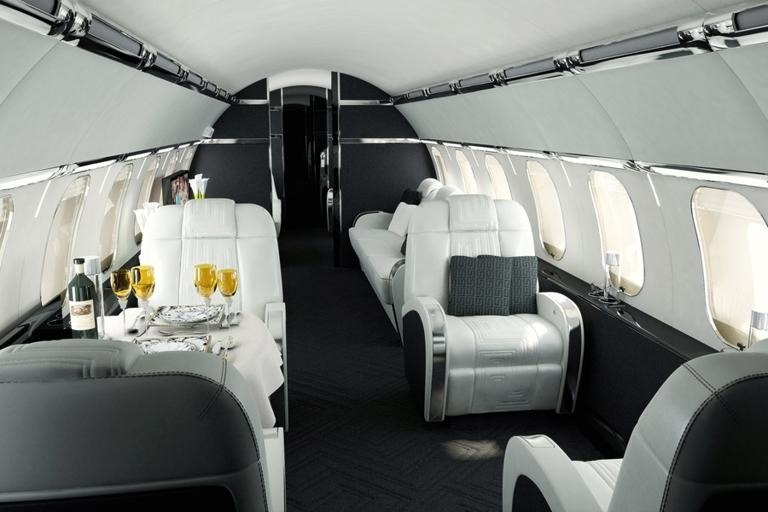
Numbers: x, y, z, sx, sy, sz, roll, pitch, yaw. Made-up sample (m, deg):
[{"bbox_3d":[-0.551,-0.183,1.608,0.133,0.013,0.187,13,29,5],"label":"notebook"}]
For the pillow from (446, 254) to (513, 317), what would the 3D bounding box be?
[{"bbox_3d":[0.980,0.283,4.645,0.636,0.594,0.192,0,0,3],"label":"pillow"}]

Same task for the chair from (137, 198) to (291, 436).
[{"bbox_3d":[-1.544,0.284,4.663,1.627,2.389,2.101,-2,9,-6],"label":"chair"}]

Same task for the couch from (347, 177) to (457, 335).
[{"bbox_3d":[0.340,-0.235,7.899,1.614,1.806,4.249,-6,15,-10],"label":"couch"}]

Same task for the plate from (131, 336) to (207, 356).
[{"bbox_3d":[-1.115,0.467,2.354,0.334,0.066,0.330,1,7,-11],"label":"plate"}]

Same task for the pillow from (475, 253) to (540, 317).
[{"bbox_3d":[1.348,0.288,4.688,0.655,0.586,0.169,-2,4,-13],"label":"pillow"}]

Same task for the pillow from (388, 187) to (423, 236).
[{"bbox_3d":[0.382,-0.823,8.536,0.245,0.813,0.811,10,5,-21],"label":"pillow"}]

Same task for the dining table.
[{"bbox_3d":[-0.861,0.471,2.025,0.763,0.190,0.800,7,25,-3],"label":"dining table"}]

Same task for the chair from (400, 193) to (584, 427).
[{"bbox_3d":[1.063,0.457,4.705,1.672,1.979,1.723,1,12,3],"label":"chair"}]

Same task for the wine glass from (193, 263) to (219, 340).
[{"bbox_3d":[-1.226,0.273,3.126,0.159,0.441,0.154,-5,12,-24],"label":"wine glass"}]

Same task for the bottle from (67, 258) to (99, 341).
[{"bbox_3d":[-1.719,0.253,2.568,0.152,0.452,0.296,-11,19,-35],"label":"bottle"}]
